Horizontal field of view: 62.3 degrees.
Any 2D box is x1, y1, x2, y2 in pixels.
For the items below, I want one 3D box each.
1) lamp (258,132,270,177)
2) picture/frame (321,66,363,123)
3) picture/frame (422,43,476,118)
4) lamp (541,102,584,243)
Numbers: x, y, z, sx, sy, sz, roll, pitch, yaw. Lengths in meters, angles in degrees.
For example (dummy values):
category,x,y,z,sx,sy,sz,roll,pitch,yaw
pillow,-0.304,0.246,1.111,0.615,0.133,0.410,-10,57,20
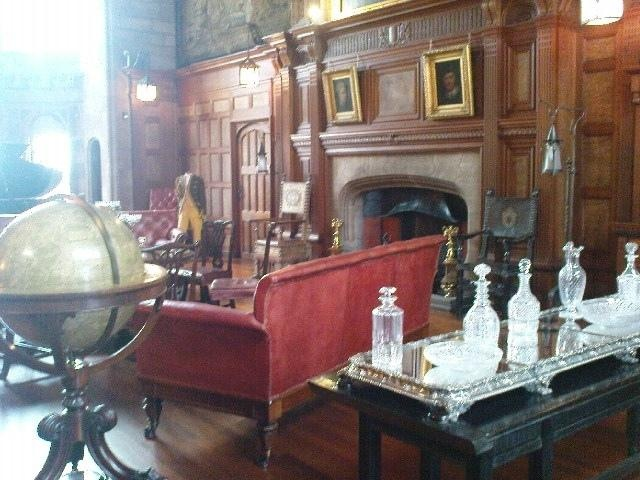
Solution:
category,x,y,z,sx,sy,sz,roll,pitch,yaw
lamp,-0.928,-1.392,8.603,0.186,0.612,0.409,-3,9,-12
picture/frame,0.305,-1.858,6.770,0.700,0.889,0.117,-1,14,46
picture/frame,1.429,-1.737,5.799,0.732,1.058,0.121,3,8,43
lamp,2.295,-0.642,5.074,0.369,1.347,0.545,4,10,26
